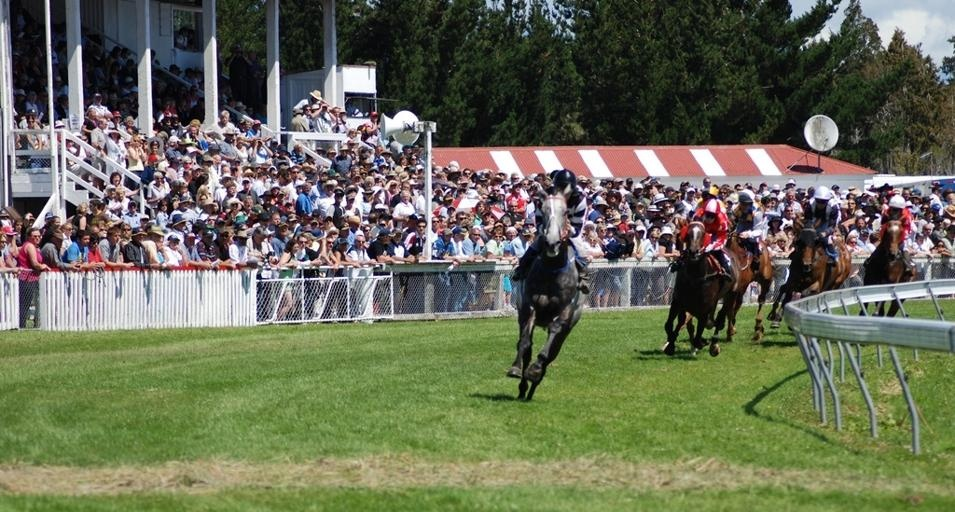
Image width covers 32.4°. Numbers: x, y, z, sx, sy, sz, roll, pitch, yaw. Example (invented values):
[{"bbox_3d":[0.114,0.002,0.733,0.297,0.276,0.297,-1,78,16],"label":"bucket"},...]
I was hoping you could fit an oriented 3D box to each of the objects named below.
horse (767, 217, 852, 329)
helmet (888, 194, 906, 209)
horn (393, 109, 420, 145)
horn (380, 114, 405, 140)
[{"bbox_3d":[11.772,0.161,57.380,2.672,2.628,1.668,-1,1,-42],"label":"horse"},{"bbox_3d":[14.525,-1.871,56.766,0.575,0.391,0.691,0,1,17],"label":"helmet"},{"bbox_3d":[-2.526,-4.734,60.607,1.205,1.036,1.020,-10,-1,3],"label":"horn"},{"bbox_3d":[-3.256,-4.706,60.375,0.621,0.731,1.238,-1,1,-39],"label":"horn"}]
